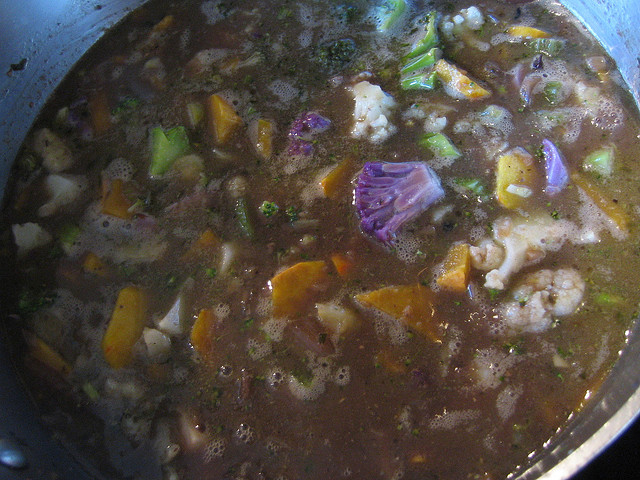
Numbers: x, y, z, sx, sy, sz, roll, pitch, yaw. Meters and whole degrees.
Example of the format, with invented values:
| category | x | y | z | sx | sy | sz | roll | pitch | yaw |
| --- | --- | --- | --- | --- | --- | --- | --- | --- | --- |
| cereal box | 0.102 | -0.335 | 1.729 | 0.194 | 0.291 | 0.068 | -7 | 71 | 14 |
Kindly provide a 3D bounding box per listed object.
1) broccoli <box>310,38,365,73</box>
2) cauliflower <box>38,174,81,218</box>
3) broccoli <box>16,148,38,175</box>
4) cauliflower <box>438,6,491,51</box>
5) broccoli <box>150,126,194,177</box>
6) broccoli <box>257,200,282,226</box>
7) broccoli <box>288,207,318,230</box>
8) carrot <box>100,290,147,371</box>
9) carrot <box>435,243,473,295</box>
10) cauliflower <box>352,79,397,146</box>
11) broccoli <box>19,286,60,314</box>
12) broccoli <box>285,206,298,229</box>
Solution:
| category | x | y | z | sx | sy | sz | roll | pitch | yaw |
| --- | --- | --- | --- | --- | --- | --- | --- | --- | --- |
| broccoli | 0.116 | -1.098 | 4.293 | 0.256 | 0.054 | 0.206 | -9 | 69 | -9 |
| cauliflower | -1.459 | -0.241 | 4.022 | 0.216 | 0.233 | 0.224 | 20 | 117 | 40 |
| broccoli | -1.687 | -0.439 | 4.135 | 0.110 | 0.066 | 0.142 | -1 | 75 | 3 |
| cauliflower | 0.821 | -1.276 | 4.347 | 0.284 | 0.318 | 0.274 | -8 | 112 | -12 |
| broccoli | -0.845 | -0.500 | 4.069 | 0.246 | 0.107 | 0.279 | 35 | 82 | 6 |
| broccoli | -0.282 | -0.147 | 3.888 | 0.119 | 0.042 | 0.129 | -4 | 91 | 1 |
| broccoli | -0.096 | -0.107 | 3.922 | 0.117 | 0.043 | 0.120 | 10 | 51 | -14 |
| carrot | -1.034 | 0.471 | 3.785 | 0.196 | 0.085 | 0.373 | 15 | 76 | 2 |
| carrot | 0.730 | 0.158 | 3.780 | 0.168 | 0.103 | 0.268 | 21 | 76 | 34 |
| cauliflower | 0.304 | -0.705 | 4.083 | 0.239 | 0.093 | 0.363 | 0 | 82 | 1 |
| broccoli | -1.535 | 0.323 | 3.890 | 0.195 | 0.087 | 0.134 | -11 | 75 | 1 |
| broccoli | -0.158 | -0.118 | 3.928 | 0.068 | 0.066 | 0.157 | -7 | 58 | -1 |
